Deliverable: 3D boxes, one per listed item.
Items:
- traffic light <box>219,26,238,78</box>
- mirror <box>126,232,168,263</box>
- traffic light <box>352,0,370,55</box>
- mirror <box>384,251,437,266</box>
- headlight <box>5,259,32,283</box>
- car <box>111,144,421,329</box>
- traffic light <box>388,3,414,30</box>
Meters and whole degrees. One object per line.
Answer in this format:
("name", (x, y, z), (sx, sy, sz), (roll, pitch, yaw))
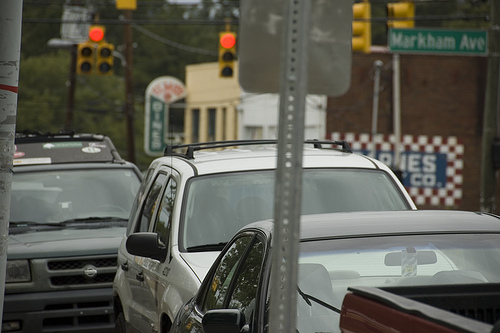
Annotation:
("traffic light", (-0.487, -2.480, 19.453), (0.374, 1.157, 0.535), (1, 1, -2))
("mirror", (-1.134, 0.897, 9.772), (0.454, 0.321, 0.152), (0, 1, -9))
("traffic light", (2.265, -2.827, 17.990), (0.330, 1.075, 1.180), (1, 1, 7))
("mirror", (1.479, 0.836, 8.117), (0.497, 0.141, 0.159), (1, 1, 0))
("headlight", (-3.101, 1.383, 11.836), (0.315, 0.202, 0.305), (1, 0, -12))
("car", (-0.087, 0.725, 10.070), (2.167, 1.586, 3.097), (2, -9, -26))
("traffic light", (3.108, -3.056, 18.232), (0.518, 0.576, 0.757), (1, 1, 8))
